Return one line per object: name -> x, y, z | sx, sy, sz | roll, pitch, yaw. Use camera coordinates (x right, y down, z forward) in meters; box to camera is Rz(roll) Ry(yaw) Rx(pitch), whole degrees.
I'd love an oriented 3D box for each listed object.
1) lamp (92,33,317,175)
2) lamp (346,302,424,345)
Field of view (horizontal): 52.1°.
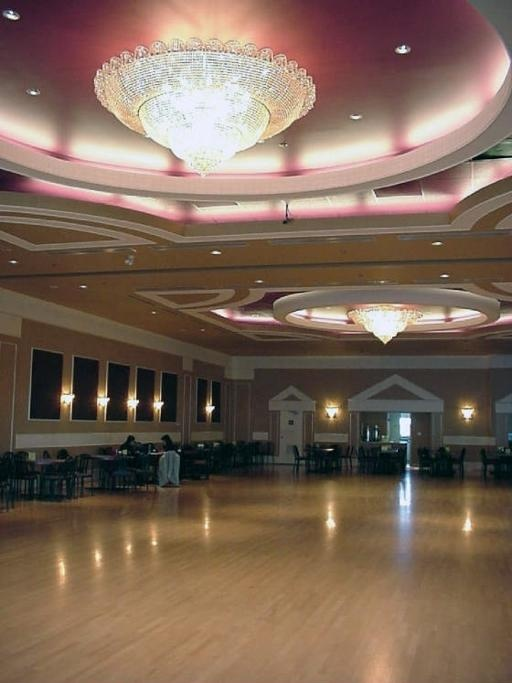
lamp -> -0.401, -1.700, 4.259 | 1.755, 0.715, 1.742 | -2, 3, -6
lamp -> 3.156, -0.541, 13.502 | 1.266, 0.612, 1.240 | 5, -7, -40
